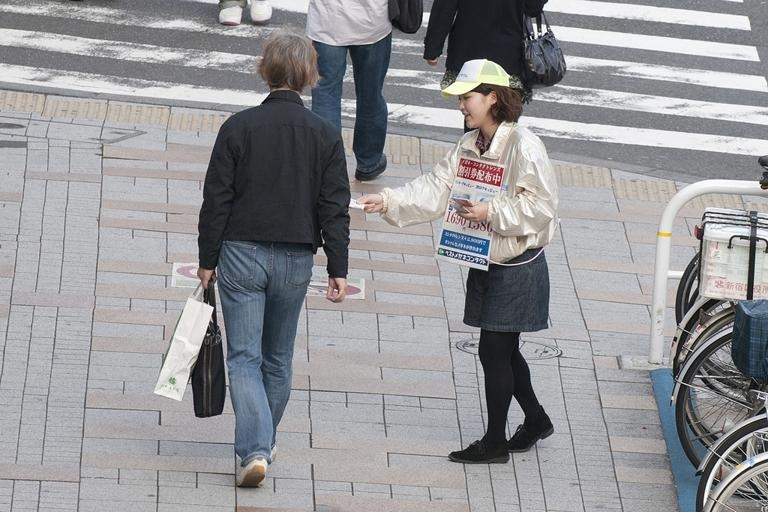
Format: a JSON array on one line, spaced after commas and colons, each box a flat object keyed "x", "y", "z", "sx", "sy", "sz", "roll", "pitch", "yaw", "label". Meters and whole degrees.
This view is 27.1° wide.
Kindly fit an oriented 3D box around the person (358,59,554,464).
[{"x": 0.797, "y": 0.063, "z": 12.598, "sx": 1.180, "sy": 3.148, "sz": 0.748, "roll": 16, "pitch": 23, "yaw": 35, "label": "person"}]

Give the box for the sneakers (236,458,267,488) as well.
[{"x": -0.989, "y": 1.655, "z": 12.237, "sx": 0.167, "sy": 0.130, "sz": 0.337, "roll": 7, "pitch": -22, "yaw": -9, "label": "sneakers"}]

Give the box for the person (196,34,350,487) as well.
[{"x": -0.854, "y": 0.050, "z": 12.224, "sx": 0.872, "sy": 3.389, "sz": 1.150, "roll": 17, "pitch": 24, "yaw": 36, "label": "person"}]

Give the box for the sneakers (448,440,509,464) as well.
[{"x": 0.798, "y": 1.564, "z": 12.810, "sx": 0.532, "sy": 0.158, "sz": 0.169, "roll": 2, "pitch": 1, "yaw": -3, "label": "sneakers"}]

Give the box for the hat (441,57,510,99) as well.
[{"x": 0.716, "y": -1.385, "z": 12.399, "sx": 0.574, "sy": 0.201, "sz": 0.325, "roll": -8, "pitch": 12, "yaw": -21, "label": "hat"}]

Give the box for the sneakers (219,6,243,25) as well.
[{"x": -1.853, "y": -2.945, "z": 19.708, "sx": 0.309, "sy": 0.246, "sz": 0.256, "roll": -3, "pitch": 18, "yaw": -16, "label": "sneakers"}]
